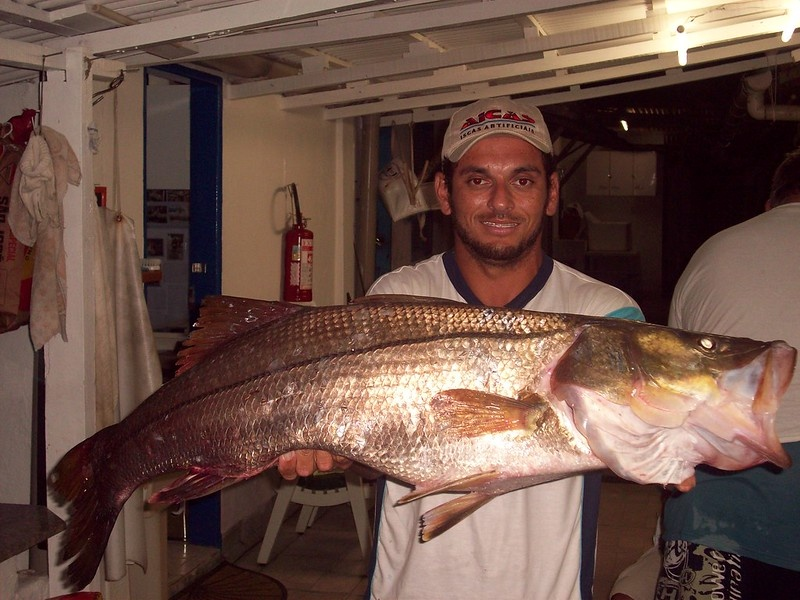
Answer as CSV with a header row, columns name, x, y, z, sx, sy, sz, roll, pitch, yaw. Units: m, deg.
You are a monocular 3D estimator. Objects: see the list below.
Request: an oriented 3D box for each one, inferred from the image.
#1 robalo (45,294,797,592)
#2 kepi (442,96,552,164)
name,x,y,z,sx,sy,sz,roll,pitch,yaw
robalo,0.045,0.466,2.586,2.572,1.006,0.439,-3,10,12
kepi,0.408,-0.738,3.085,0.464,0.284,0.505,-5,14,-5
